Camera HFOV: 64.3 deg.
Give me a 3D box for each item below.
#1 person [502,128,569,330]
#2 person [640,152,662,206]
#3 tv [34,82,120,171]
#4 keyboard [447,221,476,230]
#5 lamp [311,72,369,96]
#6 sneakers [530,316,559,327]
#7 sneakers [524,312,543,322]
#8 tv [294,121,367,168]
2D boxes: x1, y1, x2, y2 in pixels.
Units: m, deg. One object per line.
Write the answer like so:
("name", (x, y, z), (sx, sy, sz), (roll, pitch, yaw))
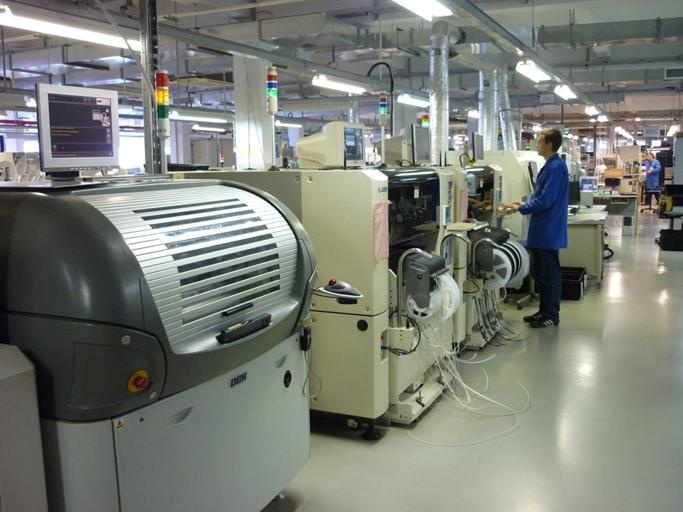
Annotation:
("person", (1.798, -0.224, 4.833), (0.462, 1.773, 0.383), (-3, 8, 4))
("person", (8.766, -2.115, 15.374), (0.394, 1.615, 2.628), (1, 10, 28))
("tv", (-1.057, -0.514, 2.213), (0.042, 0.329, 0.391), (9, 14, 23))
("keyboard", (0.897, -0.220, 4.025), (0.170, 0.064, 0.460), (-1, 9, 20))
("lamp", (-0.041, -2.450, 7.625), (0.372, 0.165, 1.129), (0, 9, 26))
("sneakers", (1.835, 0.597, 4.980), (0.262, 0.117, 0.097), (2, 1, 2))
("sneakers", (1.769, 0.570, 5.040), (0.062, 0.076, 0.170), (-8, 0, -30))
("tv", (-0.079, -0.635, 3.399), (0.325, 0.260, 0.335), (2, 6, 28))
